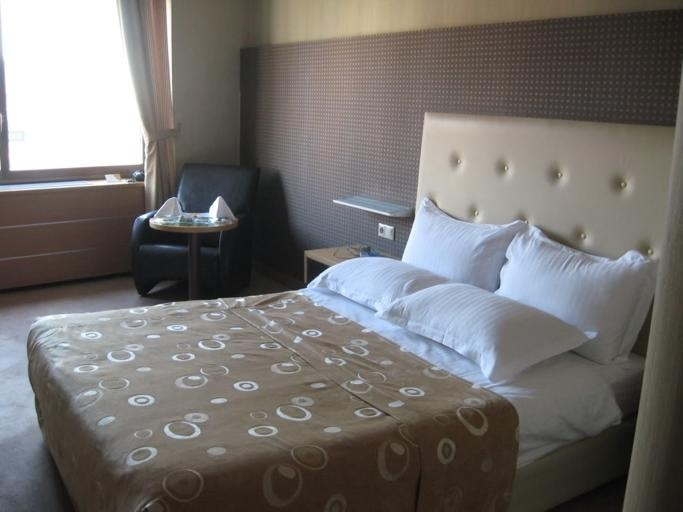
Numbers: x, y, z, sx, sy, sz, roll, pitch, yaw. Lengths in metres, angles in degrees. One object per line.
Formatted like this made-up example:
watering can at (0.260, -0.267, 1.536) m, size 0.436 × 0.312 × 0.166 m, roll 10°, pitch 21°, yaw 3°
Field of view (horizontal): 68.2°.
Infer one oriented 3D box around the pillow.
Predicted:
pillow at (0.818, 0.196, 2.516) m, size 0.801 × 0.421 × 1.257 m, roll -21°, pitch 23°, yaw -28°

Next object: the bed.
bed at (0.009, 0.196, 2.614) m, size 1.974 × 1.323 × 2.062 m, roll -11°, pitch 18°, yaw -35°

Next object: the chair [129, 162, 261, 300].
chair at (-1.326, -0.250, 4.773) m, size 1.056 × 1.125 × 1.009 m, roll 7°, pitch 15°, yaw 23°
